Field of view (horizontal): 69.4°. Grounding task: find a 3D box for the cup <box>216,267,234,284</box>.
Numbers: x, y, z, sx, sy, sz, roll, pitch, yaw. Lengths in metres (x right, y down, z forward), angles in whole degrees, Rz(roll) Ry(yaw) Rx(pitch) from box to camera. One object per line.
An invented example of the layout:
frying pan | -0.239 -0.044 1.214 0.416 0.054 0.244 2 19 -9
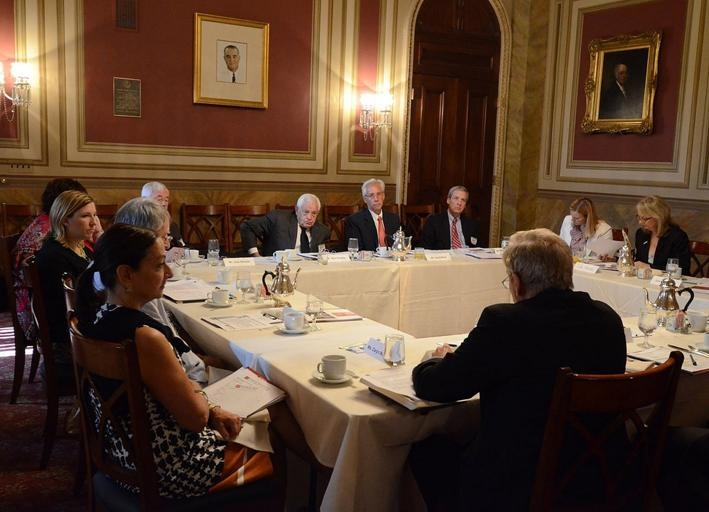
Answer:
cup | -0.867 0.128 3.433 0.100 0.092 0.090 -7 13 -39

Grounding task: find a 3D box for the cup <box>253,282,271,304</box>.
cup | -0.543 0.229 3.057 0.068 0.137 0.125 0 -3 -8

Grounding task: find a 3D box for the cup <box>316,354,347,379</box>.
cup | -0.084 0.427 2.004 0.094 0.082 0.077 -3 13 -14

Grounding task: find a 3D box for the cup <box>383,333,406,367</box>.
cup | 0.166 0.393 2.142 0.094 0.158 0.103 -1 1 0

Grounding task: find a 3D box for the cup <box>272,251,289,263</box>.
cup | -0.573 0.012 3.979 0.094 0.104 0.121 0 -1 39

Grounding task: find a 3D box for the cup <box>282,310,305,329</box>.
cup | -0.304 0.313 2.512 0.091 0.077 0.074 1 -1 -19

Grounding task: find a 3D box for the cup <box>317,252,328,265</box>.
cup | -0.253 0.024 4.195 0.092 0.101 0.067 -6 10 -35

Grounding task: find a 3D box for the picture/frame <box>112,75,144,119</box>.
picture/frame | -2.520 -1.772 5.637 0.422 0.643 0.039 -2 9 -30

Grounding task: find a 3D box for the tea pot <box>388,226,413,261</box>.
tea pot | 0.367 -0.081 4.571 0.255 0.375 0.211 0 5 -4

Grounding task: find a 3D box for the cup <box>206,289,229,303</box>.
cup | -0.782 0.216 2.928 0.101 0.078 0.083 -4 12 -14
